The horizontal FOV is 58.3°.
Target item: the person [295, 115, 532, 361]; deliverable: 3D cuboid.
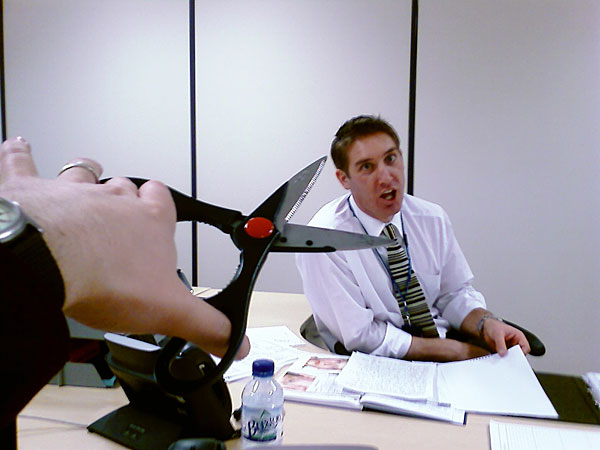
[{"bbox_3d":[0.538,0.107,2.835,0.993,1.337,0.771,-11,-4,15],"label":"person"}]
